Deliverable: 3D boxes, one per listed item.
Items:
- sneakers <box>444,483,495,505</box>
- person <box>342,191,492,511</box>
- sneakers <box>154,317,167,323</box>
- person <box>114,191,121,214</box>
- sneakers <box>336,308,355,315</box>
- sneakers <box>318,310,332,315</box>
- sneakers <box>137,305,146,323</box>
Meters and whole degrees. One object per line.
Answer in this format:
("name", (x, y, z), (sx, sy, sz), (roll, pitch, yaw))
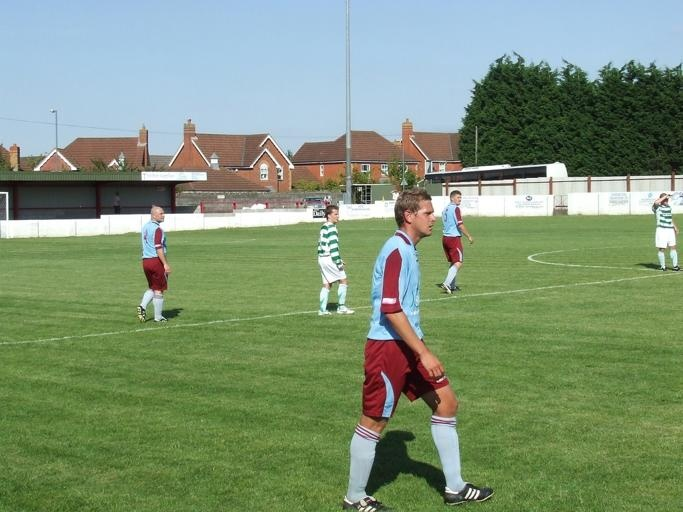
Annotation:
("sneakers", (1.169, 2.206, 8.037), (0.465, 0.193, 0.173), (-4, 0, -7))
("person", (0.586, 0.851, 7.887), (1.144, 2.911, 0.690), (-3, 3, -30))
("sneakers", (-2.974, 1.068, 14.288), (0.213, 0.095, 0.073), (-2, 9, 3))
("person", (-13.151, -3.111, 50.664), (0.388, 1.293, 2.315), (-2, 3, -15))
("sneakers", (0.072, 0.960, 14.952), (0.294, 0.150, 0.115), (1, 5, -12))
("sneakers", (-0.295, 0.981, 14.815), (0.205, 0.092, 0.083), (-1, 4, 0))
("sneakers", (-3.309, 0.941, 14.223), (0.116, 0.325, 0.146), (1, 26, 10))
